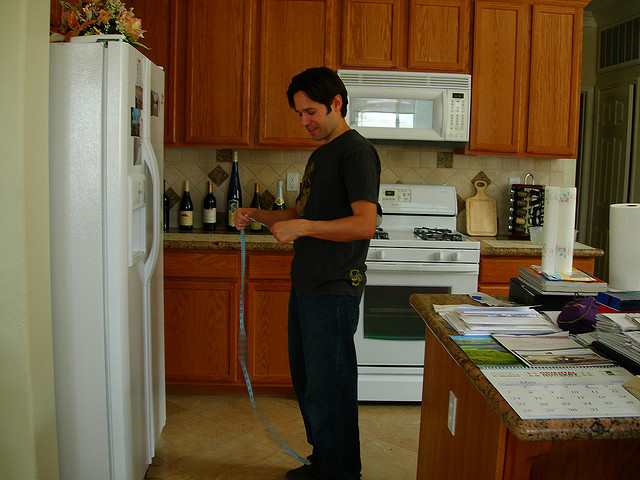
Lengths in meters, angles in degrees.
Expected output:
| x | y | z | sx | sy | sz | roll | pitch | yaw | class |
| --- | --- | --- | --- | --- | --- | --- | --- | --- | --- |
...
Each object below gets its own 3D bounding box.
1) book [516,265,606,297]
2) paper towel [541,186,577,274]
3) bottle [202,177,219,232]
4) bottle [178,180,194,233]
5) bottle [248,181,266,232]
| x | y | z | sx | sy | sz | roll | pitch | yaw | class |
| --- | --- | --- | --- | --- | --- | --- | --- | --- | --- |
| 0.905 | 0.171 | 2.018 | 0.315 | 0.069 | 0.213 | 4 | 17 | 28 | book |
| 0.897 | -0.034 | 2.042 | 0.112 | 0.337 | 0.079 | 7 | -4 | -16 | paper towel |
| -0.774 | -0.228 | 3.696 | 0.122 | 0.351 | 0.342 | -7 | 15 | -10 | bottle |
| -0.941 | -0.220 | 3.681 | 0.125 | 0.345 | 0.360 | -8 | 15 | -13 | bottle |
| -0.454 | -0.243 | 3.789 | 0.106 | 0.319 | 0.112 | 2 | -6 | 0 | bottle |
